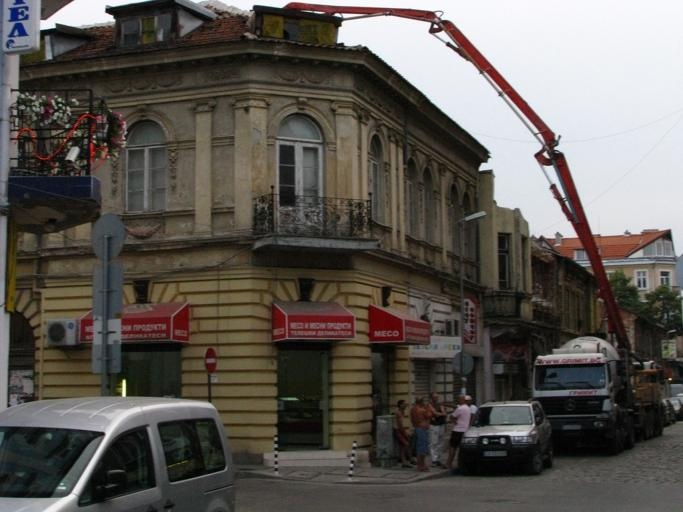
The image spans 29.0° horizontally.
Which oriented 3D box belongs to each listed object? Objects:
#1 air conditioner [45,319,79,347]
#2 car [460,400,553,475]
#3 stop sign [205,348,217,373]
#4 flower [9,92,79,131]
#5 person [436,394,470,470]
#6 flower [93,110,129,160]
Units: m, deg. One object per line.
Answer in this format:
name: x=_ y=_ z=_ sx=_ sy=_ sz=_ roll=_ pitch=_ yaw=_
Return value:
air conditioner: x=-8.302 y=2.311 z=39.331 sx=0.848 sy=0.621 sz=0.429 roll=-4 pitch=-12 yaw=17
car: x=4.522 y=5.166 z=37.511 sx=2.221 sy=2.106 sz=2.193 roll=-6 pitch=-12 yaw=21
stop sign: x=-3.752 y=2.962 z=37.604 sx=0.327 sy=0.825 sz=0.890 roll=-1 pitch=-11 yaw=-6
flower: x=-6.933 y=-3.404 z=30.675 sx=1.438 sy=0.835 sz=0.774 roll=1 pitch=-11 yaw=-15
person: x=3.229 y=5.122 z=38.609 sx=0.761 sy=2.203 sz=0.688 roll=12 pitch=-8 yaw=11
flower: x=-5.698 y=-2.898 z=31.898 sx=0.763 sy=1.196 sz=0.641 roll=1 pitch=-3 yaw=30
